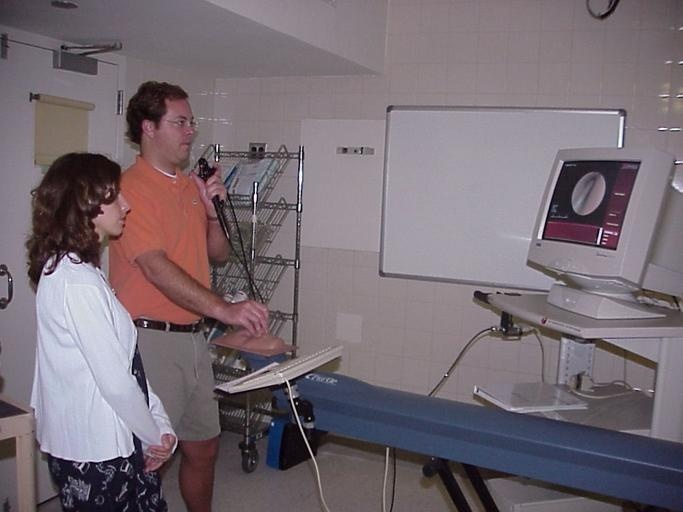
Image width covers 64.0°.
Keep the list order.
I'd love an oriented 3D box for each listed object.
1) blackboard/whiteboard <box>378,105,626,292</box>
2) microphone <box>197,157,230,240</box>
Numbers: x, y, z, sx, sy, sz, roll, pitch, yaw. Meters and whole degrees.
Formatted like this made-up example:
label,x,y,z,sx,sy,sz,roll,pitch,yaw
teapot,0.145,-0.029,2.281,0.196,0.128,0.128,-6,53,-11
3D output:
label,x,y,z,sx,sy,sz,roll,pitch,yaw
blackboard/whiteboard,1.012,-0.384,3.376,1.147,0.995,0.120,4,7,18
microphone,-0.648,-0.305,2.905,0.162,0.419,0.057,-19,1,16
